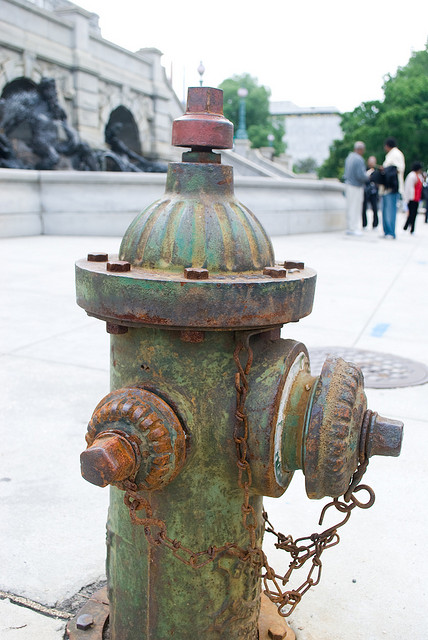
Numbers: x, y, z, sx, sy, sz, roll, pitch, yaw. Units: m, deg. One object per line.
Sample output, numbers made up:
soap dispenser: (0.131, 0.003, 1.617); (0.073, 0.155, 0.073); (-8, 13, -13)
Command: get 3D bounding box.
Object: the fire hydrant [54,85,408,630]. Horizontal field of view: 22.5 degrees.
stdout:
fire hydrant: (-0.010, 0.165, 2.952); (0.846, 1.571, 0.570); (0, 14, -9)
